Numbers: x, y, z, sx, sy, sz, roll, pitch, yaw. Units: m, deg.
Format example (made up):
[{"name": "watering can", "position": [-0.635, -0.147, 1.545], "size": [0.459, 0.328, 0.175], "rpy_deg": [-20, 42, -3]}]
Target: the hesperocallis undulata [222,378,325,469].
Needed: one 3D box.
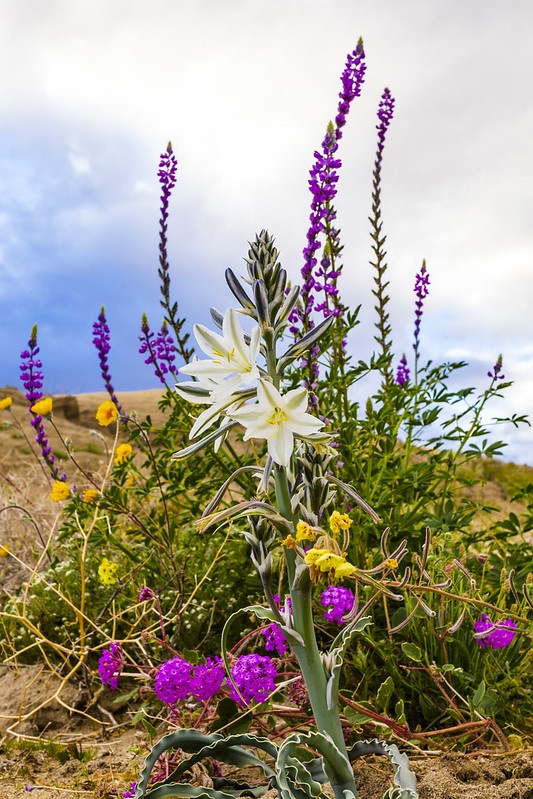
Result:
[{"name": "hesperocallis undulata", "position": [0.031, 0.035, 1.897], "size": [0.197, 0.179, 0.090], "rpy_deg": [-8, -34, -15]}]
